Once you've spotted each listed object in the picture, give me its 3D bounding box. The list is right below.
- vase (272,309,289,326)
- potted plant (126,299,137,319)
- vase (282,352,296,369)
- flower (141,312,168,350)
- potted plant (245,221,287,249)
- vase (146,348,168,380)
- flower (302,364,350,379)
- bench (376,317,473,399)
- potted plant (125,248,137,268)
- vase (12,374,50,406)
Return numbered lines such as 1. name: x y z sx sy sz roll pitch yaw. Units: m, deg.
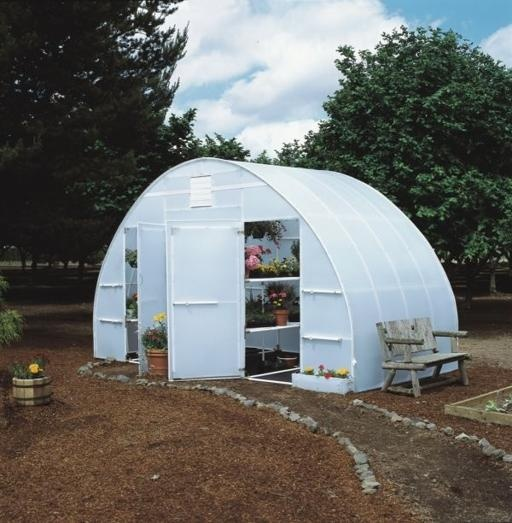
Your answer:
1. vase: 0.408 0.927 9.296 0.282 0.185 0.259 1 -7 -12
2. potted plant: -2.365 0.893 10.589 0.191 0.400 0.242 0 -4 -10
3. vase: 0.580 1.770 9.978 0.314 0.210 0.502 -1 -3 6
4. flower: -1.736 1.197 9.534 0.415 0.623 0.606 0 -4 -10
5. potted plant: 0.131 -0.523 11.099 0.568 0.423 0.653 -1 -1 42
6. vase: -1.639 1.695 9.274 0.444 0.336 0.469 0 0 -12
7. flower: 0.982 1.543 7.905 0.607 0.170 0.201 -6 9 29
8. bench: 2.444 1.352 8.113 0.739 0.886 1.507 1 0 43
9. potted plant: -2.426 -0.072 10.813 0.193 0.357 0.406 -1 -4 -8
10. vase: -2.738 1.589 6.887 0.403 0.247 0.379 0 0 29
